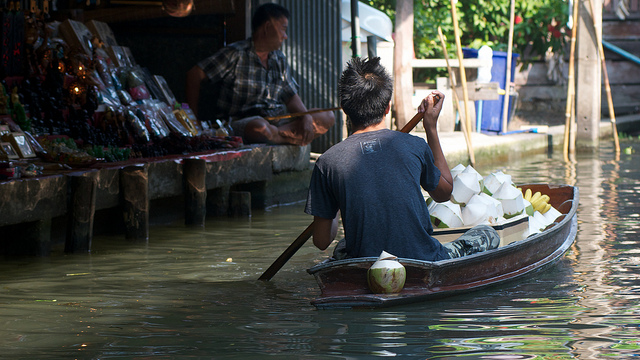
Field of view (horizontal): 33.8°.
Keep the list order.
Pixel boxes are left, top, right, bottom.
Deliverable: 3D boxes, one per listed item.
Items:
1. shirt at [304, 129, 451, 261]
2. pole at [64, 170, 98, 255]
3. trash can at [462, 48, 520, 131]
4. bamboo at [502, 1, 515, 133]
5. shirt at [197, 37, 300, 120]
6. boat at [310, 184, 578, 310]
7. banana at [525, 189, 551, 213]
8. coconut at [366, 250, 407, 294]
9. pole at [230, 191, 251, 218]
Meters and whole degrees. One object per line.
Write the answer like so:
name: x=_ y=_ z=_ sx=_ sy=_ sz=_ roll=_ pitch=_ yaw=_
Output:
shirt: x=0.571 y=0.189 z=10.582 sx=1.309 sy=1.361 sz=0.280 roll=-5 pitch=6 yaw=5
pole: x=-2.740 y=0.393 z=12.009 sx=0.407 sy=0.928 sz=0.261 roll=-7 pitch=6 yaw=-14
trash can: x=3.570 y=-1.641 z=20.927 sx=0.903 sy=1.841 sz=1.092 roll=0 pitch=2 yaw=-38
bamboo: x=3.549 y=-2.091 z=19.914 sx=0.372 sy=2.197 sz=0.322 roll=2 pitch=1 yaw=-36
shirt: x=-0.964 y=-1.373 z=15.050 sx=1.812 sy=1.245 sz=0.899 roll=3 pitch=14 yaw=-34
boat: x=1.776 y=0.629 z=11.222 sx=1.119 sy=0.477 sz=2.996 roll=8 pitch=11 yaw=41
banana: x=2.525 y=0.259 z=12.241 sx=0.130 sy=0.192 sz=0.270 roll=-45 pitch=39 yaw=-11
coconut: x=0.646 y=0.917 z=10.430 sx=0.423 sy=0.458 sz=0.408 roll=2 pitch=-8 yaw=-10
pole: x=-1.067 y=0.338 z=14.050 sx=0.292 sy=0.338 sz=0.291 roll=-6 pitch=5 yaw=-5
